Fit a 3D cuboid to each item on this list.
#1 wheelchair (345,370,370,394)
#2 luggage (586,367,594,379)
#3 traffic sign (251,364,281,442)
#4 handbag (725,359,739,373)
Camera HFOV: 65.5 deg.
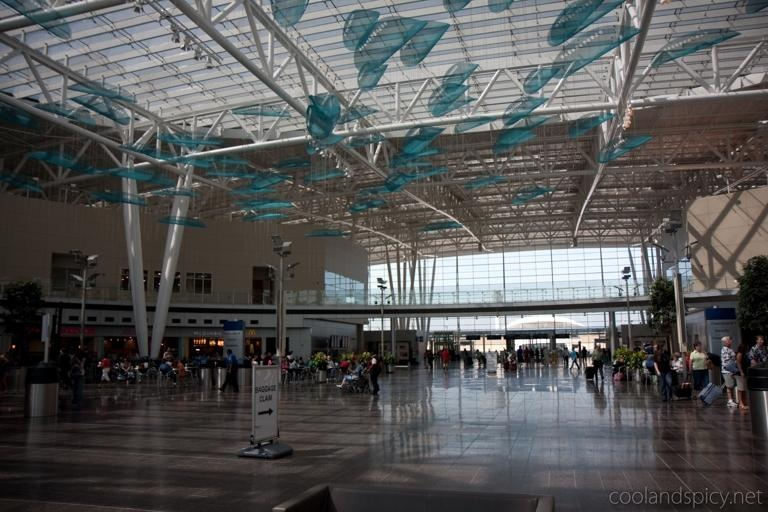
[{"bbox_3d":[-1.279,5.885,27.700,1.129,1.015,0.894,1,-14,2],"label":"wheelchair"},{"bbox_3d":[11.199,6.370,32.491,0.447,0.677,0.975,-5,-12,17],"label":"luggage"},{"bbox_3d":[-2.897,3.549,14.369,0.353,1.811,1.068,-5,-12,18],"label":"traffic sign"},{"bbox_3d":[11.386,3.609,19.581,0.412,0.391,0.238,-5,-12,19],"label":"handbag"}]
